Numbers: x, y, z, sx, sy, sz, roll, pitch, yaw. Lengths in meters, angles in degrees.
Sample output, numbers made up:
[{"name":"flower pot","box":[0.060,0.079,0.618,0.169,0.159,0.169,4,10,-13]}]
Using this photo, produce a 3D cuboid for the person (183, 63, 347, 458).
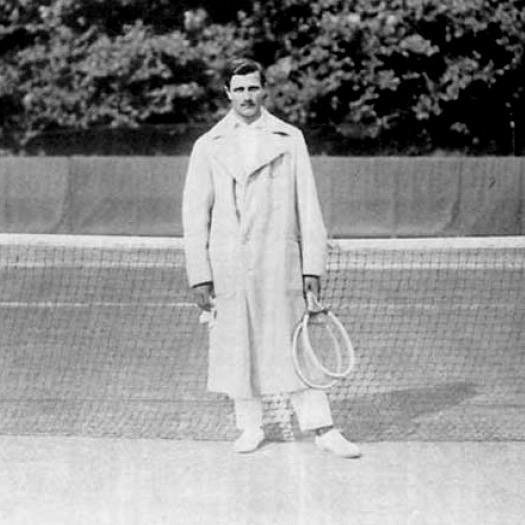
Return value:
[{"name":"person","box":[-0.061,-0.079,14.198,1.217,3.171,0.666,0,7,-3]}]
